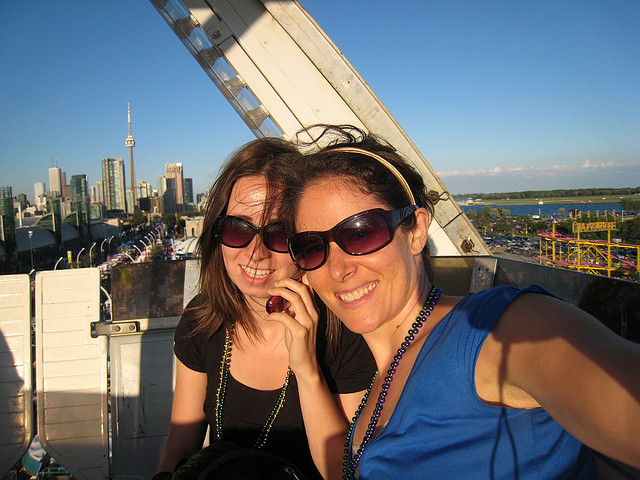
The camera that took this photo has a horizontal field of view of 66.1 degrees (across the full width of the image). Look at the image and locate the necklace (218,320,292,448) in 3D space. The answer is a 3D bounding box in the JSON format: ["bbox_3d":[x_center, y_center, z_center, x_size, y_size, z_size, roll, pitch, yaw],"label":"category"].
[{"bbox_3d":[-0.521,0.904,3.167,0.311,0.703,0.095,8,-14,12],"label":"necklace"}]

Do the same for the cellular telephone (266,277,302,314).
[{"bbox_3d":[-0.212,0.339,2.917,0.142,0.073,0.257,-17,3,37],"label":"cellular telephone"}]

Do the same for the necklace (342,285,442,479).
[{"bbox_3d":[0.364,0.749,2.502,0.518,1.004,0.387,-2,2,-5],"label":"necklace"}]

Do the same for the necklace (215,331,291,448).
[{"bbox_3d":[-0.352,0.893,2.892,0.328,0.646,0.091,6,-16,13],"label":"necklace"}]
